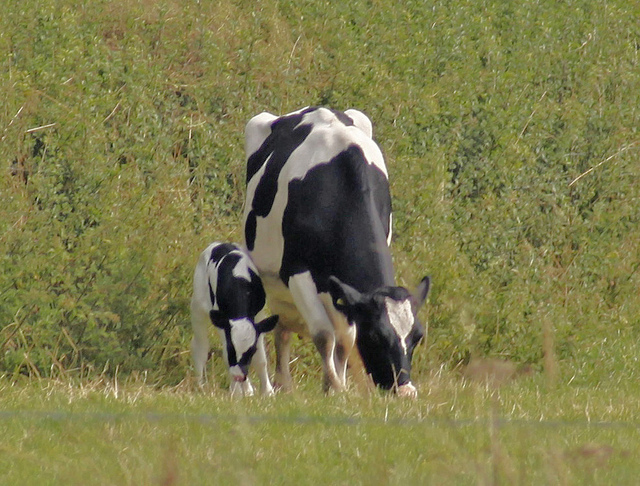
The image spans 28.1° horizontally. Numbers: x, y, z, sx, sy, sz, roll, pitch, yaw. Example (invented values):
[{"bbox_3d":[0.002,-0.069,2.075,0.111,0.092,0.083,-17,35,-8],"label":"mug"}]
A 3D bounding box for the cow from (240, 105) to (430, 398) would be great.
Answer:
[{"bbox_3d":[0.156,0.283,15.609,1.376,3.557,3.525,-1,14,-30],"label":"cow"}]
